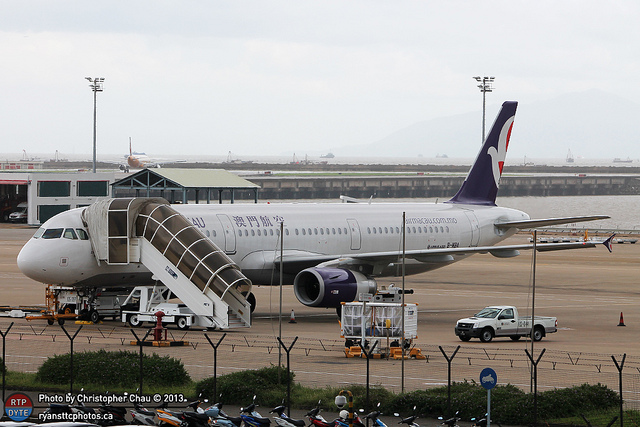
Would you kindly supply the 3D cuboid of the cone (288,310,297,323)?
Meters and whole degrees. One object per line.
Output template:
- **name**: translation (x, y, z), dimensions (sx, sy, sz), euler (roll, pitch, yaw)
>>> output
- **cone**: translation (-1.235, 5.590, 76.386), dimensions (0.584, 0.670, 0.548), euler (-2, 4, -27)

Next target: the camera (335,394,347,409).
- **camera**: translation (0.950, 7.512, 56.036), dimensions (0.598, 0.621, 0.546), euler (2, 5, 0)

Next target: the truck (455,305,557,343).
- **truck**: translation (9.794, 5.691, 72.172), dimensions (5.262, 1.546, 2.241), euler (1, -1, -26)

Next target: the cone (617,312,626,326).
- **cone**: translation (16.580, 5.739, 76.446), dimensions (0.661, 0.738, 0.606), euler (-4, 5, -23)

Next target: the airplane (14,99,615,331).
- **airplane**: translation (-1.281, 1.573, 78.428), dimensions (23.913, 7.380, 18.351), euler (-1, 1, -38)

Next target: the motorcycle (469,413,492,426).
- **motorcycle**: translation (6.760, 8.390, 57.305), dimensions (0.482, 0.345, 0.674), euler (5, 5, 40)

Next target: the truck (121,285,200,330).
- **truck**: translation (-8.223, 4.884, 73.459), dimensions (3.709, 1.505, 2.272), euler (3, 1, 19)
